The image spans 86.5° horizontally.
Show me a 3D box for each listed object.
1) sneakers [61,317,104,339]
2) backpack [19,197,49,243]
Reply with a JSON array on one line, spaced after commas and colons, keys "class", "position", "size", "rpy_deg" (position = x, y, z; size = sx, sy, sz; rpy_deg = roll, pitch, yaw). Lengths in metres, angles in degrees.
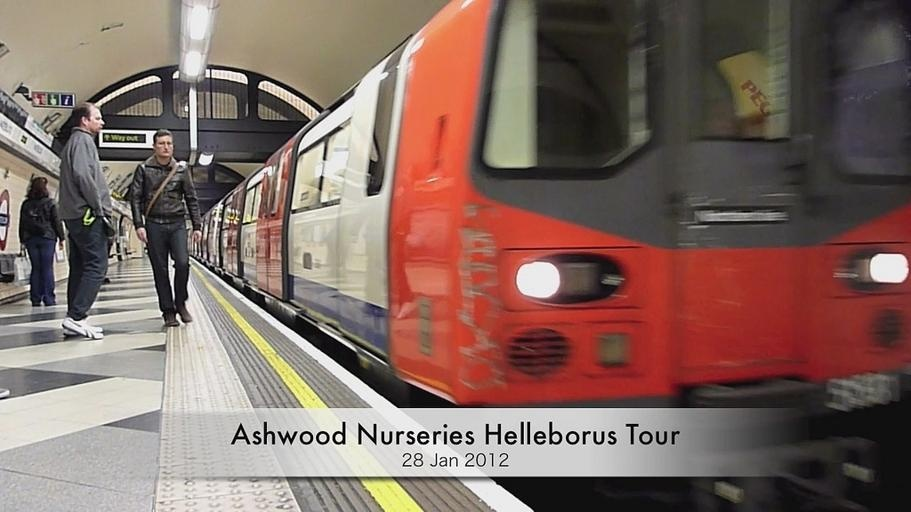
[{"class": "sneakers", "position": [-4.442, 0.861, 5.716], "size": [0.577, 0.252, 0.176], "rpy_deg": [1, 12, 11]}, {"class": "backpack", "position": [-7.699, -0.610, 8.729], "size": [0.572, 0.778, 0.274], "rpy_deg": [2, 12, 16]}]
